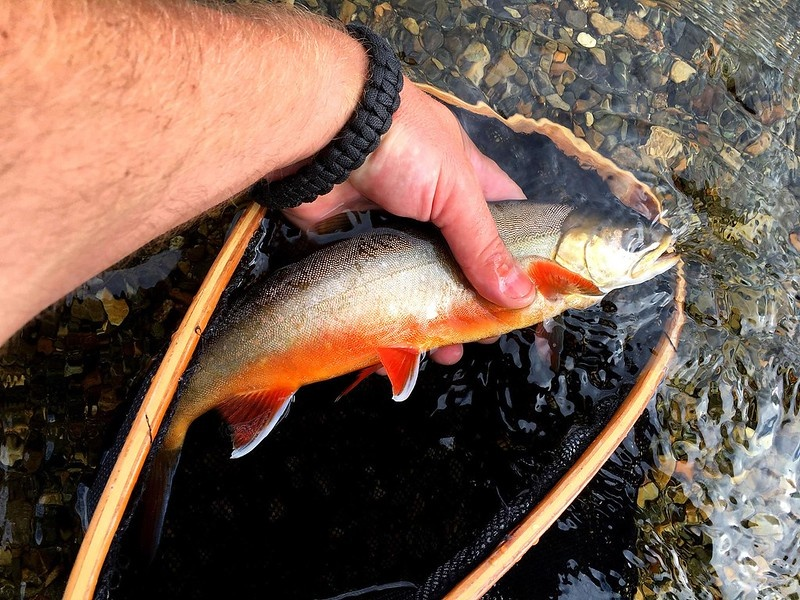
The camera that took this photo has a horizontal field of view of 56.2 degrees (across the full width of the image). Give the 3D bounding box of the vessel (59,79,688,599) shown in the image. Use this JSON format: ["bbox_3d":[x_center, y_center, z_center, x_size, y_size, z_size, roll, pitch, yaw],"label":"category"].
[{"bbox_3d":[-0.018,0.185,2.422,2.165,0.584,1.529,-14,69,-26],"label":"vessel"}]
